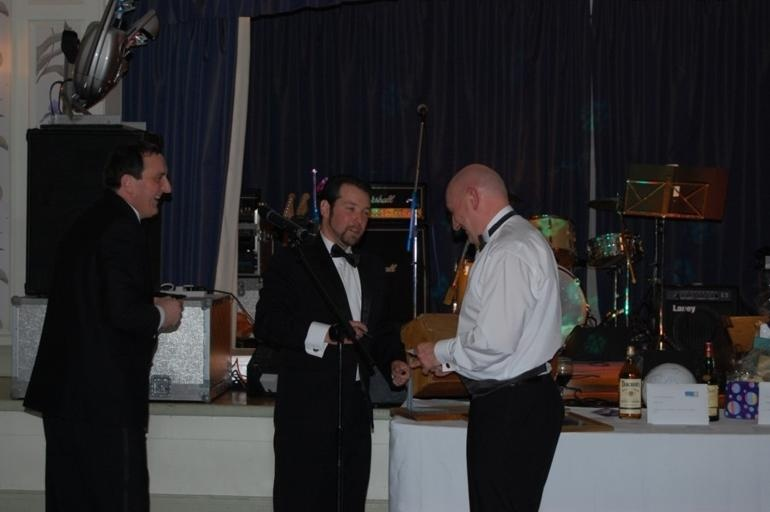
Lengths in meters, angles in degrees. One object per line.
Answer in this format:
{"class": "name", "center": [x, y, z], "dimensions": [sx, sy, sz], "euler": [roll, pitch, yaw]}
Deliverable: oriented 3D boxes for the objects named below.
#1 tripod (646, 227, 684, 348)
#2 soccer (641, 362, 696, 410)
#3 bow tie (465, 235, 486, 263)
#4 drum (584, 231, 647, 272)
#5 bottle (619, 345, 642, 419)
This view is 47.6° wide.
{"class": "tripod", "center": [2.500, 0.202, 7.900], "dimensions": [0.184, 1.216, 1.452], "euler": [2, -4, 17]}
{"class": "soccer", "center": [1.738, 0.782, 5.398], "dimensions": [0.309, 0.253, 0.343], "euler": [2, -4, 17]}
{"class": "bow tie", "center": [0.827, -0.059, 7.735], "dimensions": [0.099, 0.252, 0.180], "euler": [45, 27, 24]}
{"class": "drum", "center": [2.148, -0.066, 8.183], "dimensions": [0.515, 0.325, 0.358], "euler": [3, -3, 3]}
{"class": "bottle", "center": [1.519, 0.771, 5.432], "dimensions": [0.138, 0.443, 0.204], "euler": [2, -3, 16]}
